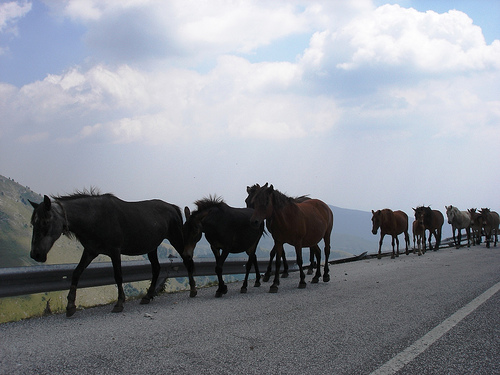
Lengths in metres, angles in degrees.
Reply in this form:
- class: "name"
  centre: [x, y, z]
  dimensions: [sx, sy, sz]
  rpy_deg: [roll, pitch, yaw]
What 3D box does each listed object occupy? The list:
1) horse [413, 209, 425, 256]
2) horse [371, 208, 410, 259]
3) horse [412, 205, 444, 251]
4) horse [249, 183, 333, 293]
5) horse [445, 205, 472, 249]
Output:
- class: "horse"
  centre: [10.312, 2.708, 23.112]
  dimensions: [0.683, 2.692, 3.319]
  rpy_deg: [-1, -4, 24]
- class: "horse"
  centre: [8.111, 2.583, 21.452]
  dimensions: [3.971, 2.826, 1.055]
  rpy_deg: [-1, 2, -38]
- class: "horse"
  centre: [11.680, 2.684, 24.525]
  dimensions: [1.109, 2.873, 4.108]
  rpy_deg: [1, -2, 44]
- class: "horse"
  centre: [1.441, 1.498, 11.312]
  dimensions: [1.094, 3.129, 3.842]
  rpy_deg: [-1, -3, 43]
- class: "horse"
  centre: [15.151, 2.883, 27.301]
  dimensions: [3.836, 3.063, 1.036]
  rpy_deg: [6, -7, -40]
